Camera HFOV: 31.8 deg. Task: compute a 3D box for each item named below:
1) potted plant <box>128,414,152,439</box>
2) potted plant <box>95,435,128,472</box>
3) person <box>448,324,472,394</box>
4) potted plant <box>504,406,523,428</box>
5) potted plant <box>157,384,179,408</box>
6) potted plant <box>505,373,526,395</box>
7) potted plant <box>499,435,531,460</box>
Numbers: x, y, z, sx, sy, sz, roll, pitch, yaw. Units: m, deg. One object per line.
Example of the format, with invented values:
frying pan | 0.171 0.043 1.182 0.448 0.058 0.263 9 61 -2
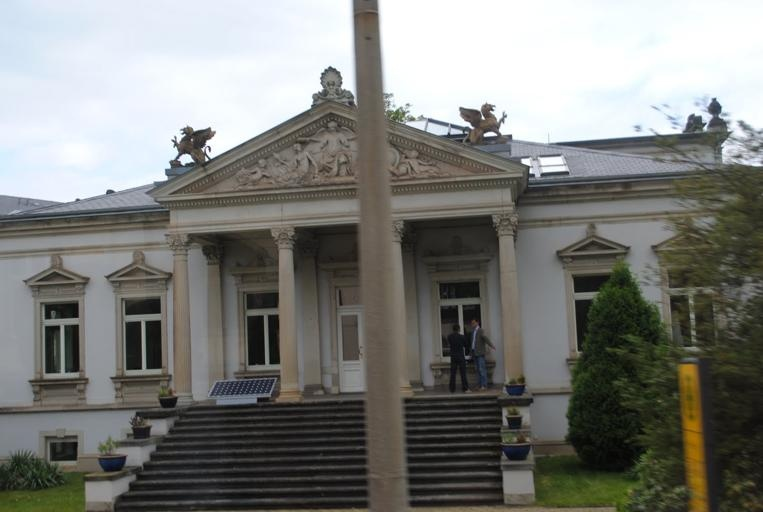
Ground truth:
potted plant | -6.730 4.838 37.515 0.706 0.820 0.597 -2 -14 -1
potted plant | -7.398 5.430 36.494 1.047 1.082 0.967 1 -3 -13
person | 2.267 3.094 39.958 0.592 2.045 1.455 -6 -8 3
potted plant | 3.550 4.364 36.113 0.539 0.659 0.589 -2 -2 9
potted plant | -6.278 4.148 38.797 0.641 0.758 0.685 2 -18 1
potted plant | 3.807 3.642 37.330 0.573 0.547 0.535 -6 -11 18
potted plant | 3.541 4.997 34.851 0.733 0.417 0.678 1 -23 -1
